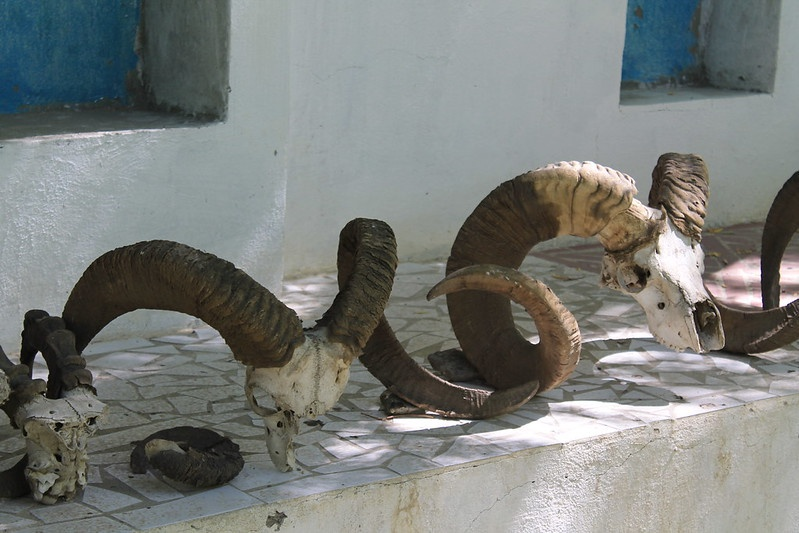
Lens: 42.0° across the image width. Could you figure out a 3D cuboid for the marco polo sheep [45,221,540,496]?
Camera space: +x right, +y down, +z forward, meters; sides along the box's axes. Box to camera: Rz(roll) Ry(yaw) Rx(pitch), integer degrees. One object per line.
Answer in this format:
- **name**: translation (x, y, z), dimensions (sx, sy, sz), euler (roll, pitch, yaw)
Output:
- **marco polo sheep**: translation (-0.838, 0.340, 6.403), dimensions (2.217, 1.228, 1.325), euler (-9, 38, -38)
